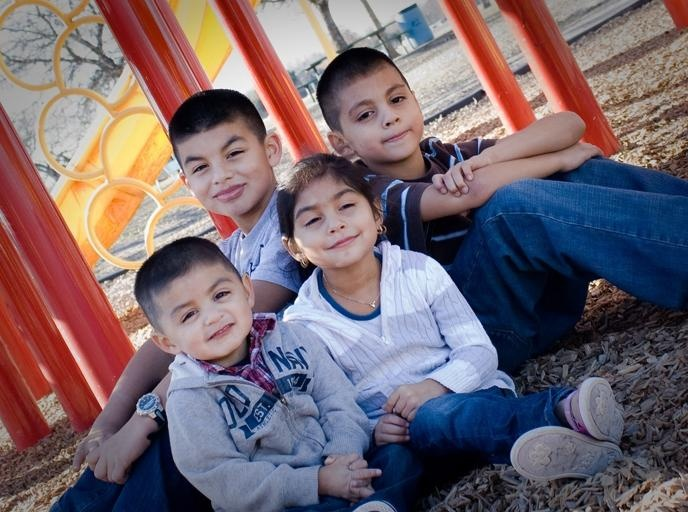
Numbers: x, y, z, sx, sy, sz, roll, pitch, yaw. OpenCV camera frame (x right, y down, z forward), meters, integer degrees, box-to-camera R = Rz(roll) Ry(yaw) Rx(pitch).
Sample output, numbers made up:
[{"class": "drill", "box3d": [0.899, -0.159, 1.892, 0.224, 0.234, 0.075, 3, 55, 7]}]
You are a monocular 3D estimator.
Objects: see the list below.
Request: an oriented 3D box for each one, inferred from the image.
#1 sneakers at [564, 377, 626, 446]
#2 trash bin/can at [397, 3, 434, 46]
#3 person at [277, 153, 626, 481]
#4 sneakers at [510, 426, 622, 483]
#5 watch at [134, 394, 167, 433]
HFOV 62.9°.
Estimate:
[{"class": "sneakers", "box3d": [0.605, 0.388, 1.396, 0.059, 0.190, 0.114, -8, 35, 49]}, {"class": "trash bin/can", "box3d": [0.808, -2.725, 6.578, 0.292, 0.464, 0.303, -23, 39, 22]}, {"class": "person", "box3d": [0.204, 0.163, 1.622, 0.442, 0.867, 1.092, -25, 6, -21]}, {"class": "sneakers", "box3d": [0.535, 0.481, 1.421, 0.264, 0.135, 0.109, 8, 2, -2]}, {"class": "watch", "box3d": [-0.558, 0.441, 1.619, 0.066, 0.096, 0.097, -36, -27, -14]}]
